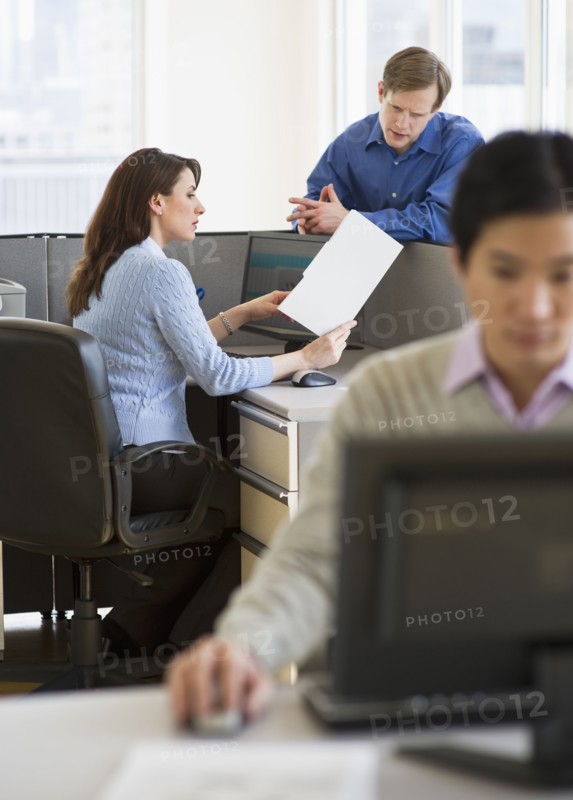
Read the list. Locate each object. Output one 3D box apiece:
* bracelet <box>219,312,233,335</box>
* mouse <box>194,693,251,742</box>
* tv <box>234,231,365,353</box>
[{"bbox_3d":[-0.191,-0.243,2.551,0.017,0.057,0.061,-27,6,5],"label":"bracelet"},{"bbox_3d":[-0.039,0.194,0.482,0.031,0.017,0.029,-1,1,-12],"label":"mouse"},{"bbox_3d":[0.050,-0.324,2.396,0.120,0.266,0.403,14,12,-32],"label":"tv"}]
